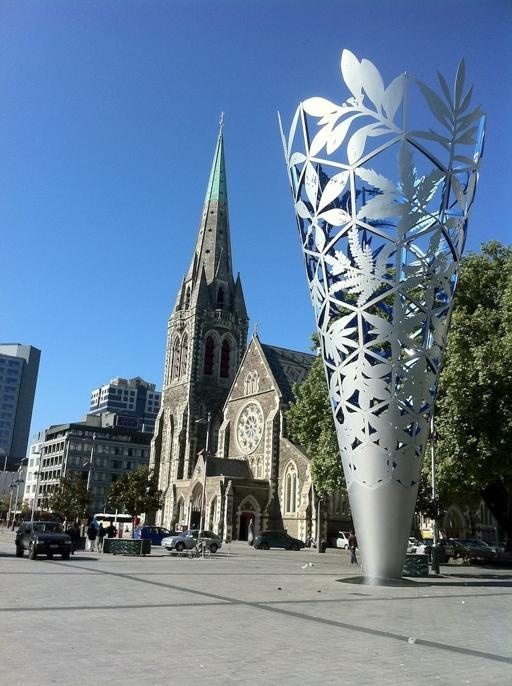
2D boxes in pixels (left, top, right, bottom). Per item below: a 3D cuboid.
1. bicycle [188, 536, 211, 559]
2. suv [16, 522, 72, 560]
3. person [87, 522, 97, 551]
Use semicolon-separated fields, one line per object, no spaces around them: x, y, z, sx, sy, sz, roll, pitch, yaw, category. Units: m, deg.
-3.029;11.179;30.430;0.850;0.792;1.456;1;-26;-7;bicycle
-8.907;8.185;23.372;1.457;1.156;2.586;11;-28;-27;suv
-9.071;10.771;31.161;0.464;1.417;2.954;5;-16;-14;person
